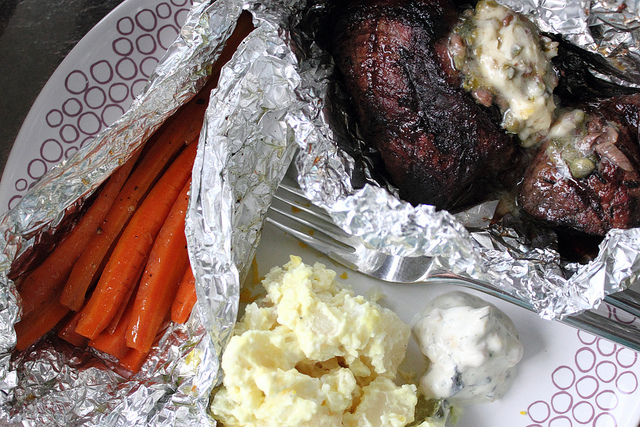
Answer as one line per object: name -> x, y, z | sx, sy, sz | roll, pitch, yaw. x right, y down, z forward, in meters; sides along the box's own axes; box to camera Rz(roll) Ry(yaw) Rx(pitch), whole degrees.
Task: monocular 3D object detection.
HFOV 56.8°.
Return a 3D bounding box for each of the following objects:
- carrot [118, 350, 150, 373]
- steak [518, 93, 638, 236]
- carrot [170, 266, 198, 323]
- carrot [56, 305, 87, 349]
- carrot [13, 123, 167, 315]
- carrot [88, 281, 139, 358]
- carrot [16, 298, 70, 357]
carrot -> -0.697, 0.557, 2.209 | 0.070, 0.039, 0.046 | -19, 80, -26
steak -> 0.879, -0.110, 2.114 | 0.424, 0.135, 0.476 | 20, 100, 9
carrot -> -0.490, 0.316, 2.244 | 0.106, 0.044, 0.233 | 15, 90, 27
carrot -> -0.912, 0.428, 2.193 | 0.082, 0.039, 0.148 | 29, 101, 8
carrot -> -0.827, 0.050, 2.170 | 0.107, 0.105, 0.778 | 33, 88, -17
carrot -> -0.767, 0.402, 2.192 | 0.032, 0.048, 0.295 | 21, 82, 1
carrot -> -1.026, 0.398, 2.245 | 0.097, 0.070, 0.277 | 43, 69, -20
